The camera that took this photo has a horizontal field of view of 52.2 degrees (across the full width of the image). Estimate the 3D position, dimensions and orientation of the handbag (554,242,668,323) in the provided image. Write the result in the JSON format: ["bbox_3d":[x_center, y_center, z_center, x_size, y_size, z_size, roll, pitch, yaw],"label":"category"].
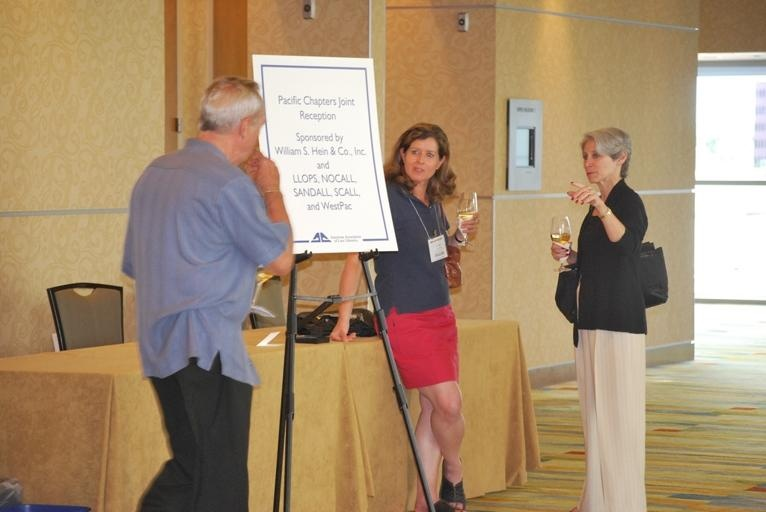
[{"bbox_3d":[1.417,0.136,4.523,0.425,0.265,0.595,-8,-12,31],"label":"handbag"}]

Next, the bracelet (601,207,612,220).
[{"bbox_3d":[1.250,-0.237,4.324,0.048,0.027,0.065,-5,-15,-27],"label":"bracelet"}]

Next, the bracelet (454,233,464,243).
[{"bbox_3d":[0.477,-0.105,4.784,0.045,0.053,0.020,20,57,23],"label":"bracelet"}]
